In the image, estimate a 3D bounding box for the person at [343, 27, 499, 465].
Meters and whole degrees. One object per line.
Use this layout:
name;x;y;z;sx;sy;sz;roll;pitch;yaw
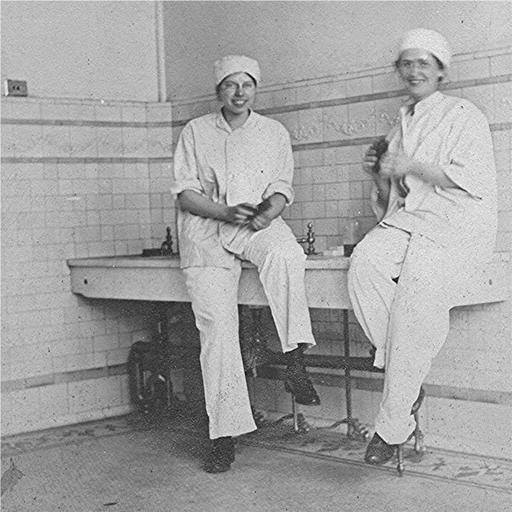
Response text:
person;0.499;-0.029;1.915;0.393;1.288;0.536;5;14;44

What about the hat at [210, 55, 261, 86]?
hat;-0.072;-0.594;2.020;0.118;0.069;0.118;-6;8;-44

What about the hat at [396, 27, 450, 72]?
hat;0.487;-0.606;1.821;0.134;0.064;0.114;1;44;-15

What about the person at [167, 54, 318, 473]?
person;-0.044;0.015;2.094;0.439;1.382;0.469;-6;10;-3
